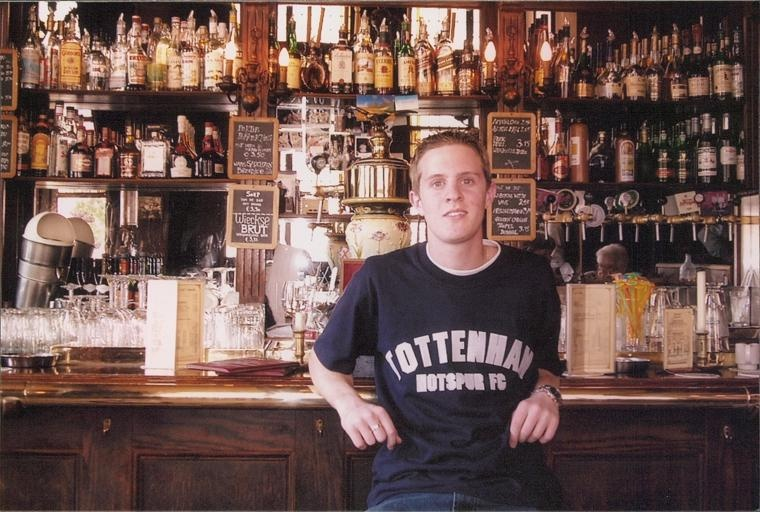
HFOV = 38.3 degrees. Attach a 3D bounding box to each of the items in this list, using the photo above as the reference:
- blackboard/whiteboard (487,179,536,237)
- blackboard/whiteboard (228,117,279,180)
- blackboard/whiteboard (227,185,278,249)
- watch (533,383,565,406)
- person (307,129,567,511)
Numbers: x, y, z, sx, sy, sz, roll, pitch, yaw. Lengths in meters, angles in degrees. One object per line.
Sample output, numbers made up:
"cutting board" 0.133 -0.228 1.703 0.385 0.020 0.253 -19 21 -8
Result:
"blackboard/whiteboard" 0.762 -0.272 6.398 0.395 0.403 0.019 0 -2 -3
"blackboard/whiteboard" -0.751 -0.639 6.483 0.417 0.460 0.040 0 -2 -5
"blackboard/whiteboard" -0.752 -0.234 6.479 0.417 0.443 0.026 1 3 -6
"watch" 0.759 0.615 4.931 0.077 0.108 0.118 -28 -23 17
"person" 0.264 0.281 4.896 1.067 1.676 0.355 0 -2 7
